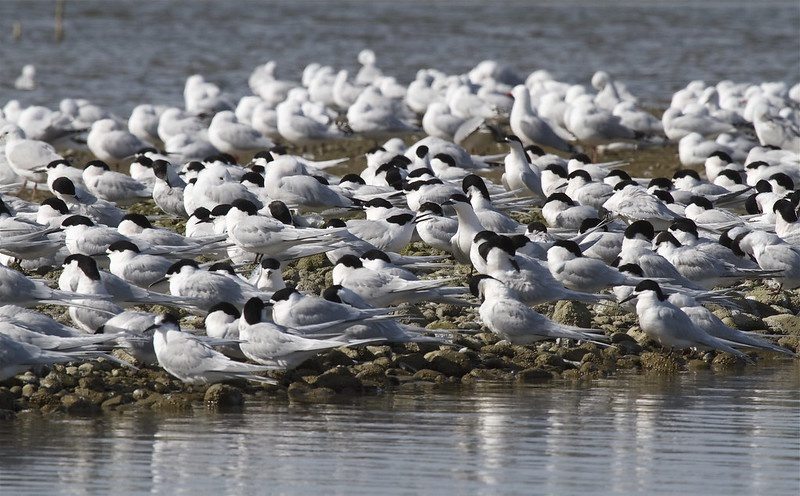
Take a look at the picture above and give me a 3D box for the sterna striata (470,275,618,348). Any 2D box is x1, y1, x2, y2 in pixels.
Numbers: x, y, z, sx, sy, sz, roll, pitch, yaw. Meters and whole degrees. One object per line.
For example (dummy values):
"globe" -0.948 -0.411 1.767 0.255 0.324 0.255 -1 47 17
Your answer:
"sterna striata" 1.588 0.733 15.037 1.885 0.717 0.580 10 26 42

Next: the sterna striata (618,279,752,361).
"sterna striata" 3.398 0.873 15.592 1.993 0.654 0.512 10 -4 -26

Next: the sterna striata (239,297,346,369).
"sterna striata" -1.114 0.933 14.205 1.481 0.617 0.541 6 22 39
